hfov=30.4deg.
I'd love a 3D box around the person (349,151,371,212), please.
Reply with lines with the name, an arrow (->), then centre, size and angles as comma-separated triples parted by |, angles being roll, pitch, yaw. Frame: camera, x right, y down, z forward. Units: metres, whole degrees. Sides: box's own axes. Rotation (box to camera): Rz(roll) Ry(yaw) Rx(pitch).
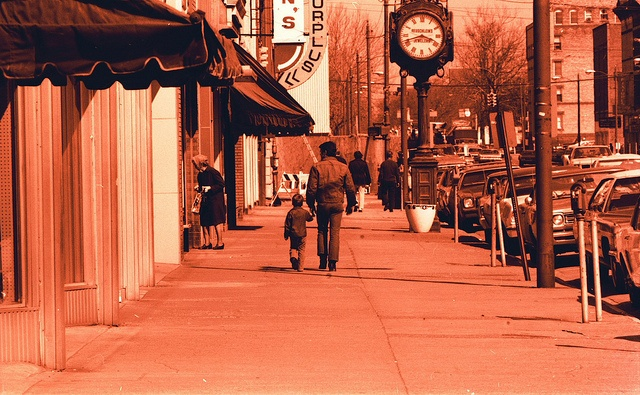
person -> 1.050, -0.500, 35.418 | 0.778, 1.843, 0.736 | 0, 1, 10

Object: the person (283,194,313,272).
person -> -0.406, 0.611, 21.202 | 0.512, 1.461, 0.946 | -1, 7, -1

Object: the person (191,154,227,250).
person -> -2.177, 0.068, 23.295 | 0.658, 1.729, 0.733 | 0, 0, -3

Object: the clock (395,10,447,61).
clock -> 2.453, -3.989, 28.722 | 1.394, 1.218, 0.183 | 1, -2, 3

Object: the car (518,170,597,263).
car -> 5.364, 0.269, 23.277 | 1.537, 1.933, 3.594 | 1, 0, 3

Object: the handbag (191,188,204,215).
handbag -> -2.434, 0.068, 23.193 | 0.224, 0.507, 0.430 | -1, 7, -6

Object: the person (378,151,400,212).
person -> 2.023, -0.460, 35.862 | 0.736, 1.706, 0.665 | 0, 1, 9
